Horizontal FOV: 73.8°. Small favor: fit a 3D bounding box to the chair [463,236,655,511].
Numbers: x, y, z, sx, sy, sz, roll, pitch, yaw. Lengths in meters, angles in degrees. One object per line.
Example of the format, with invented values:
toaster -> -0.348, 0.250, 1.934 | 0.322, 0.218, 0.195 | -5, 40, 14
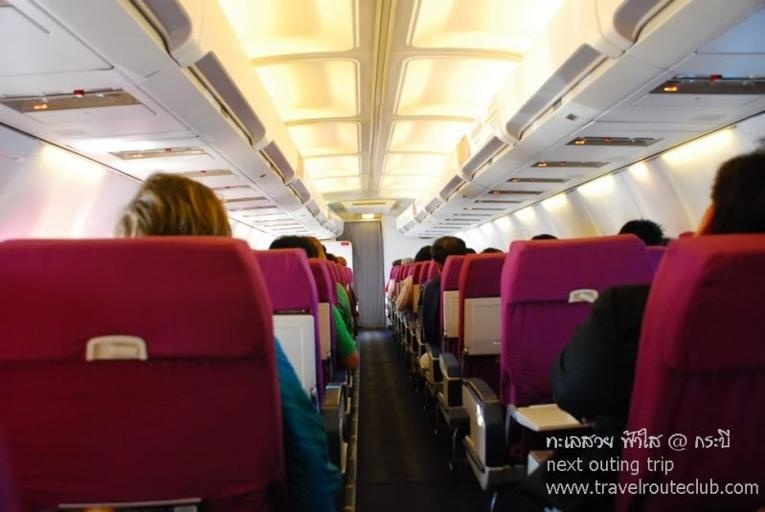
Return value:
chair -> 0.785, 0.359, 2.588 | 0.783, 1.123, 0.962 | -3, 17, 4
